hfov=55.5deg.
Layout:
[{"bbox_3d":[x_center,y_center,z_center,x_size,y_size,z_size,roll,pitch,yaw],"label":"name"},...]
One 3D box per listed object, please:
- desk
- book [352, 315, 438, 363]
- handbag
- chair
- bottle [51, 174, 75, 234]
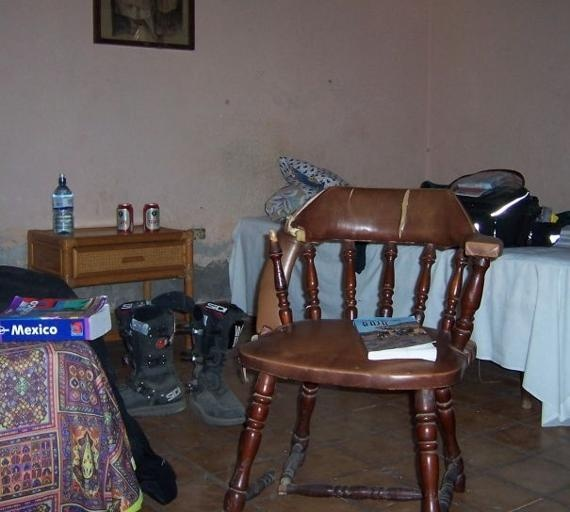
[{"bbox_3d":[-0.822,0.173,2.688,0.579,0.517,0.408,-3,5,-34],"label":"desk"},{"bbox_3d":[0.245,0.184,1.253,0.150,0.036,0.225,-8,11,5],"label":"book"},{"bbox_3d":[0.852,-0.150,2.323,0.340,0.234,0.518,-1,26,2],"label":"handbag"},{"bbox_3d":[0.197,0.252,1.365,0.606,0.836,0.671,2,9,4],"label":"chair"},{"bbox_3d":[-1.140,-0.267,2.770,0.113,0.290,0.362,-3,9,-22],"label":"bottle"}]
